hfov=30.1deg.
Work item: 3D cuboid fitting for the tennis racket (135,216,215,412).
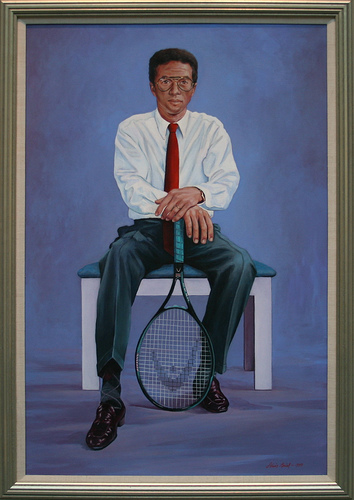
[{"bbox_3d":[-0.002,0.279,2.491,0.231,0.589,0.279,1,7,0],"label":"tennis racket"}]
